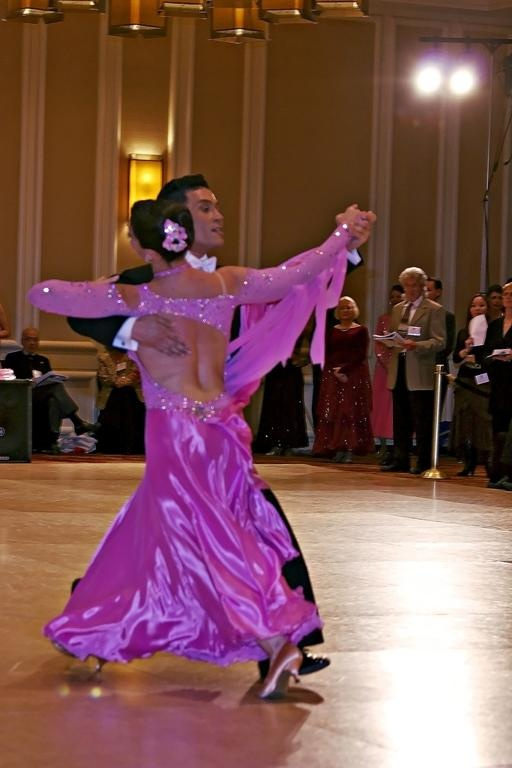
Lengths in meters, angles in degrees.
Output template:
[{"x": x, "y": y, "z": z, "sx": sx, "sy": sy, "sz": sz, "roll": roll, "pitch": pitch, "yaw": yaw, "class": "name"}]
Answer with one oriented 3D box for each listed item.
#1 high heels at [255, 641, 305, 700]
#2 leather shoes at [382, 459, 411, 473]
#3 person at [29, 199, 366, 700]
[{"x": 0.063, "y": 0.598, "z": 1.571, "sx": 0.078, "sy": 0.092, "sz": 0.150, "roll": 3, "pitch": -2, "yaw": 17, "class": "high heels"}, {"x": 1.321, "y": 0.774, "z": 6.974, "sx": 0.296, "sy": 0.122, "sz": 0.101, "roll": 1, "pitch": -2, "yaw": 19, "class": "leather shoes"}, {"x": -0.141, "y": 0.109, "z": 1.804, "sx": 0.741, "sy": 0.958, "sz": 0.507, "roll": 4, "pitch": -2, "yaw": 12, "class": "person"}]
